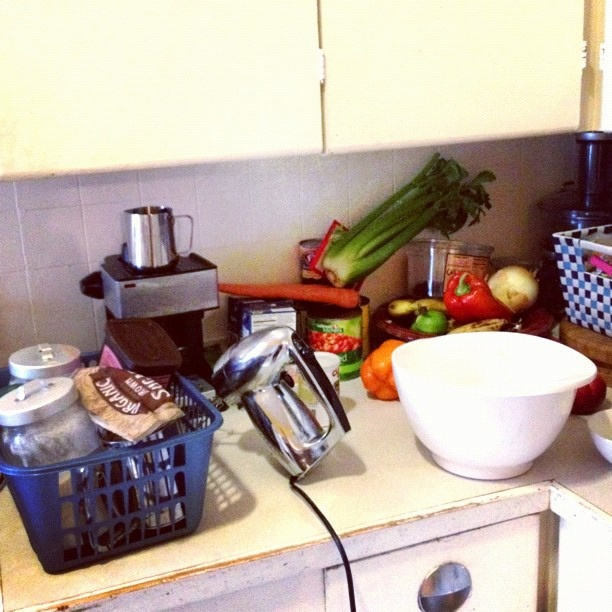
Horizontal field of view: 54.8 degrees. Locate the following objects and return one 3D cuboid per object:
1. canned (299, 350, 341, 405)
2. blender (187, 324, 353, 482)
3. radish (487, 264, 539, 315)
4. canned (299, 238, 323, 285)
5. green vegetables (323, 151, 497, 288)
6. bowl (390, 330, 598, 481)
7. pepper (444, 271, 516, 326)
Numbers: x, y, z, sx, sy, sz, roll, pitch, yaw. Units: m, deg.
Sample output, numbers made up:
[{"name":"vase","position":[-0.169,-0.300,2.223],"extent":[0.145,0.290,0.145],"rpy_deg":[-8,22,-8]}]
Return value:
[{"name":"canned","position":[0.020,0.123,1.132],"extent":[0.119,0.102,0.104],"rpy_deg":[-2,16,-2]},{"name":"blender","position":[-0.030,0.135,0.876],"extent":[0.191,0.202,0.099],"rpy_deg":[-24,-18,21]},{"name":"radish","position":[0.453,-0.039,1.332],"extent":[0.136,0.099,0.083],"rpy_deg":[-2,30,-9]},{"name":"canned","position":[0.012,-0.102,1.323],"extent":[0.061,0.097,0.054],"rpy_deg":[-8,15,-4]},{"name":"green vegetables","position":[0.221,-0.193,1.399],"extent":[0.484,0.206,0.219],"rpy_deg":[-27,43,-9]},{"name":"bowl","position":[0.277,0.154,0.897],"extent":[0.287,0.185,0.250],"rpy_deg":[-9,14,-17]},{"name":"pepper","position":[0.359,-0.013,1.232],"extent":[0.141,0.107,0.091],"rpy_deg":[-1,15,16]}]
